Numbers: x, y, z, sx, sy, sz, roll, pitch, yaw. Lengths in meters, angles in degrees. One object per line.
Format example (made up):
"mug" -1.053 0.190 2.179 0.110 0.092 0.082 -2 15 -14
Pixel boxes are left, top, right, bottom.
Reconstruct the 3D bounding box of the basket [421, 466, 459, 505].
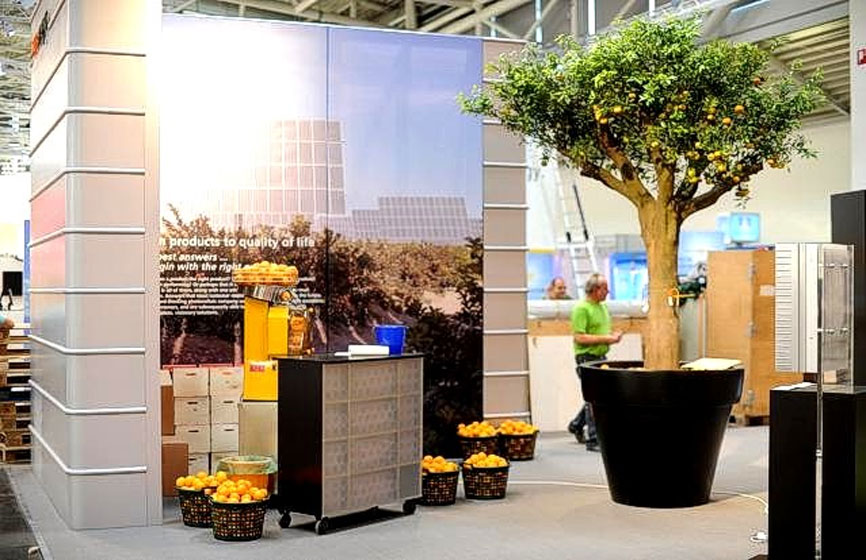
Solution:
"basket" 0.047 1.719 6.269 0.280 0.176 0.276 2 -10 -6

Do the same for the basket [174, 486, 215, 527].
"basket" -1.822 1.735 5.749 0.301 0.209 0.298 0 -6 -3

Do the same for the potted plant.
"potted plant" 1.953 -0.351 6.931 3.128 3.523 2.241 3 6 -2

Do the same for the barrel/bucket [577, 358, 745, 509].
"barrel/bucket" 1.954 1.272 6.485 1.409 1.149 1.440 -1 -2 0

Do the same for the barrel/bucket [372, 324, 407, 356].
"barrel/bucket" -0.389 0.496 6.244 0.277 0.209 0.276 -1 -3 0

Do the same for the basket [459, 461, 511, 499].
"basket" 0.445 1.710 6.440 0.338 0.204 0.311 0 -8 -3

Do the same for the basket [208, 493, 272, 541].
"basket" -1.430 1.819 5.546 0.396 0.241 0.394 -7 -29 5

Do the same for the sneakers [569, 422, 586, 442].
"sneakers" 1.647 1.748 8.606 0.210 0.258 0.209 -3 -19 0

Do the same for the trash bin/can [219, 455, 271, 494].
"trash bin/can" -1.508 1.529 6.041 0.311 0.229 0.310 -1 0 10
